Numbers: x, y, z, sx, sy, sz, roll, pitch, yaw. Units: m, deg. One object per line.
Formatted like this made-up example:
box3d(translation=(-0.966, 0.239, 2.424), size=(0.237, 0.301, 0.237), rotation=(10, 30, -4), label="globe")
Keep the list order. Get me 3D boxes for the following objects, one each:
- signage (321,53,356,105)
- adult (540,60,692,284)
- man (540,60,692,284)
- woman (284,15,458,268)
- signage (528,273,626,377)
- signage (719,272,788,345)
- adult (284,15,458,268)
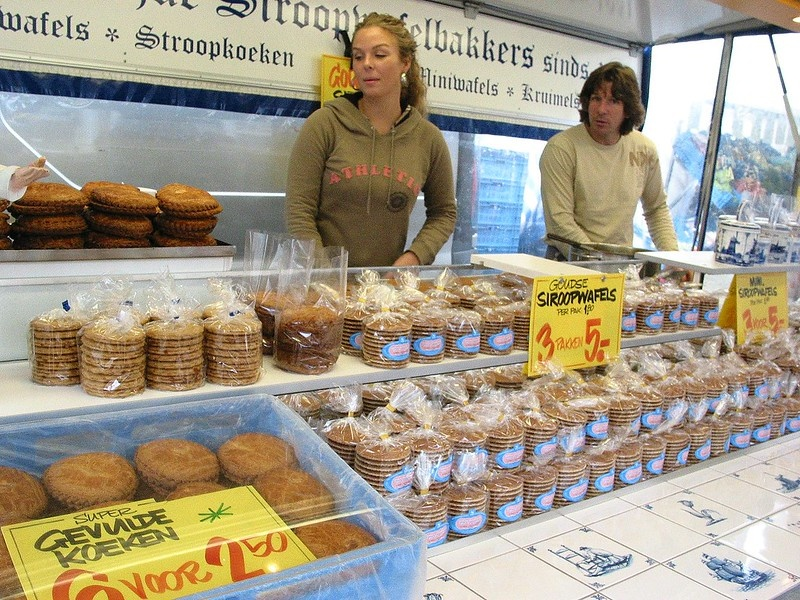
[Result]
box3d(translation=(-0.369, -1.407, 3.782), size=(0.310, 0.308, 0.023), rotation=(-14, 29, -38), label="signage")
box3d(translation=(1.252, -0.831, 3.455), size=(0.946, 1.063, 0.468), rotation=(-4, 10, -20), label="adult")
box3d(translation=(1.252, -0.831, 3.456), size=(0.947, 1.063, 0.471), rotation=(-4, 10, -20), label="man")
box3d(translation=(-0.103, -0.757, 2.872), size=(0.930, 1.196, 0.469), rotation=(-9, 12, -40), label="woman")
box3d(translation=(0.581, 0.082, 1.911), size=(0.444, 0.313, 0.008), rotation=(-2, 8, -33), label="signage")
box3d(translation=(1.561, 0.024, 2.553), size=(0.312, 0.293, 0.111), rotation=(-3, 11, -15), label="signage")
box3d(translation=(-0.103, -0.757, 2.872), size=(0.930, 1.196, 0.469), rotation=(-9, 12, -40), label="adult")
